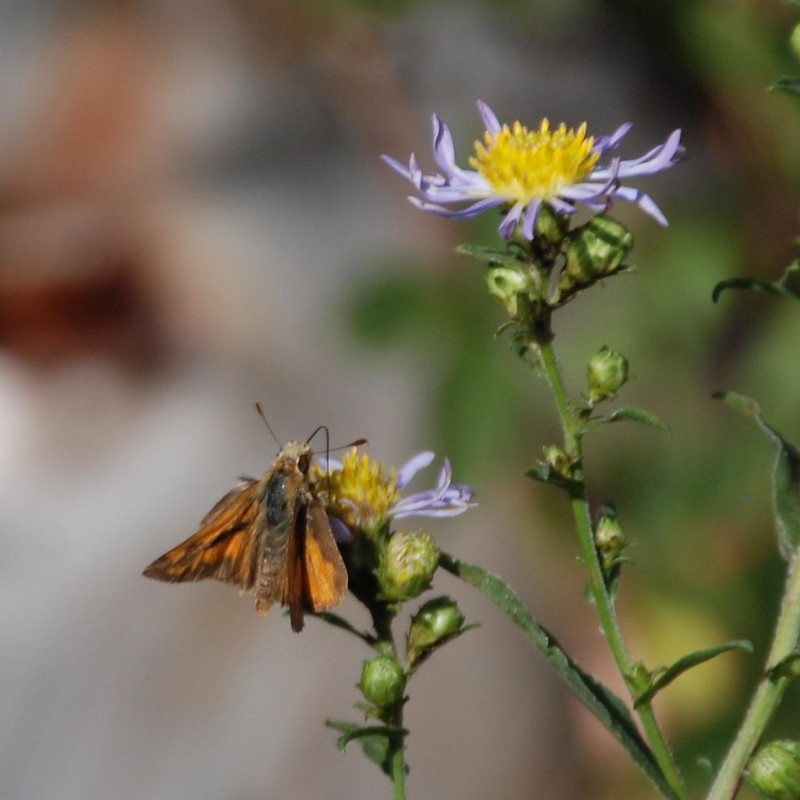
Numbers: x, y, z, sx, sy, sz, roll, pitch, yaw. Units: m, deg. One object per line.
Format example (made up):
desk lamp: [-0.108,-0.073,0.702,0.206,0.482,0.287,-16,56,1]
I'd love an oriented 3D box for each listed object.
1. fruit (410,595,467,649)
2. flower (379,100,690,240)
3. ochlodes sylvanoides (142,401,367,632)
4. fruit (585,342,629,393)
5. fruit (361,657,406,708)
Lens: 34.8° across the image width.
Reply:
fruit: [0.049,0.314,1.814,0.084,0.052,0.055,-13,-57,-3]
flower: [0.187,-0.335,1.945,0.327,0.419,0.130,-2,-90,8]
ochlodes sylvanoides: [-0.192,0.209,1.934,0.326,0.386,0.156,2,-15,41]
fruit: [0.299,-0.049,1.855,0.061,0.082,0.064,-8,-56,-5]
fruit: [-0.025,0.390,1.768,0.068,0.051,0.064,-14,-57,-2]
